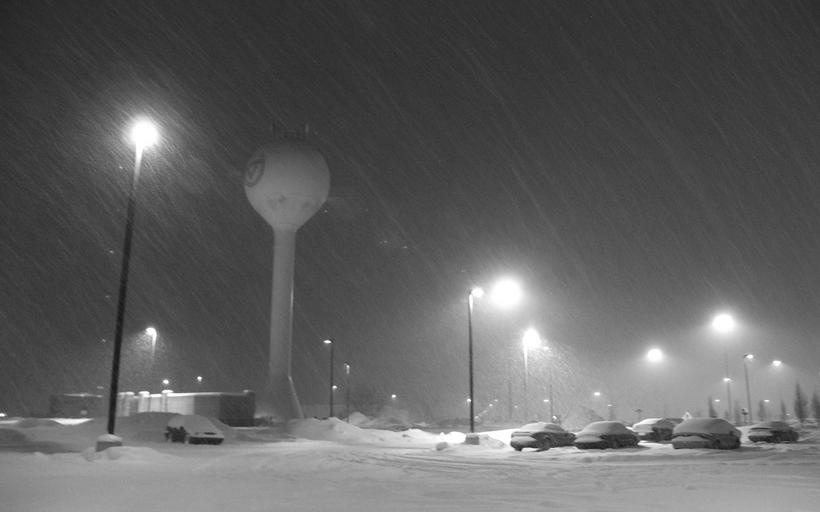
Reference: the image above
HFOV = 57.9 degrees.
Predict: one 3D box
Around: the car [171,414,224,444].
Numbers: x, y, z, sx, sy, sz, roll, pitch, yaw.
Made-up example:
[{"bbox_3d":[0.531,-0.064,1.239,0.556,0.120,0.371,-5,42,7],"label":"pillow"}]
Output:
[{"bbox_3d":[-11.569,9.270,39.384,1.519,1.108,2.419,8,-12,-42],"label":"car"}]
